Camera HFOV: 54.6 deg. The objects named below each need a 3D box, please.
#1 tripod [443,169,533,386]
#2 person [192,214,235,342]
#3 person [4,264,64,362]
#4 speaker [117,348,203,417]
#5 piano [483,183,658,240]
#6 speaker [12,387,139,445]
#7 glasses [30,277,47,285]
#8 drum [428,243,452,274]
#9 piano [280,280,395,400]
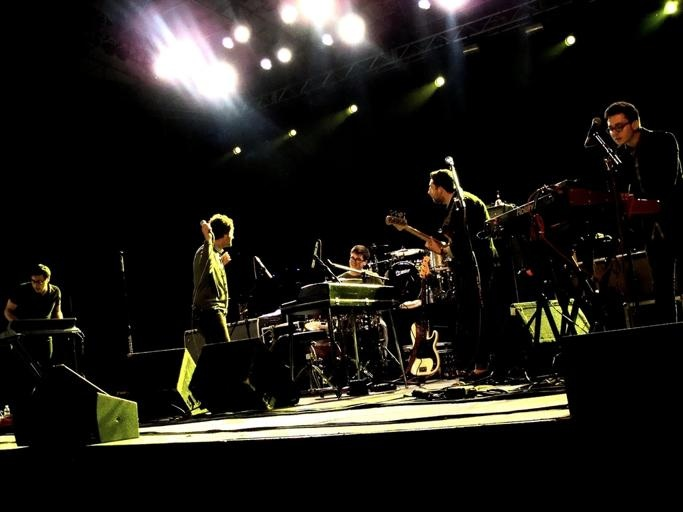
[{"bbox_3d":[1.369,0.222,6.440,0.694,1.952,0.192,-14,-8,31],"label":"tripod"},{"bbox_3d":[-1.242,0.181,6.340,0.430,1.365,0.589,-4,-11,-11],"label":"person"},{"bbox_3d":[-3.877,0.691,8.211,0.689,1.361,1.711,-1,-14,-24],"label":"person"},{"bbox_3d":[-1.535,1.085,5.625,0.559,0.615,0.362,-2,2,-6],"label":"speaker"},{"bbox_3d":[1.979,-0.364,5.639,0.749,0.259,0.807,-3,-13,-22],"label":"piano"},{"bbox_3d":[-1.776,1.057,4.361,0.753,0.383,0.259,-7,-12,-1],"label":"speaker"},{"bbox_3d":[-3.835,0.310,8.344,0.174,0.099,0.154,-2,-13,-21],"label":"glasses"},{"bbox_3d":[1.148,0.030,7.773,0.230,0.294,0.287,0,-1,2],"label":"drum"},{"bbox_3d":[0.009,0.705,6.749,0.888,0.886,0.683,5,0,-39],"label":"piano"}]
